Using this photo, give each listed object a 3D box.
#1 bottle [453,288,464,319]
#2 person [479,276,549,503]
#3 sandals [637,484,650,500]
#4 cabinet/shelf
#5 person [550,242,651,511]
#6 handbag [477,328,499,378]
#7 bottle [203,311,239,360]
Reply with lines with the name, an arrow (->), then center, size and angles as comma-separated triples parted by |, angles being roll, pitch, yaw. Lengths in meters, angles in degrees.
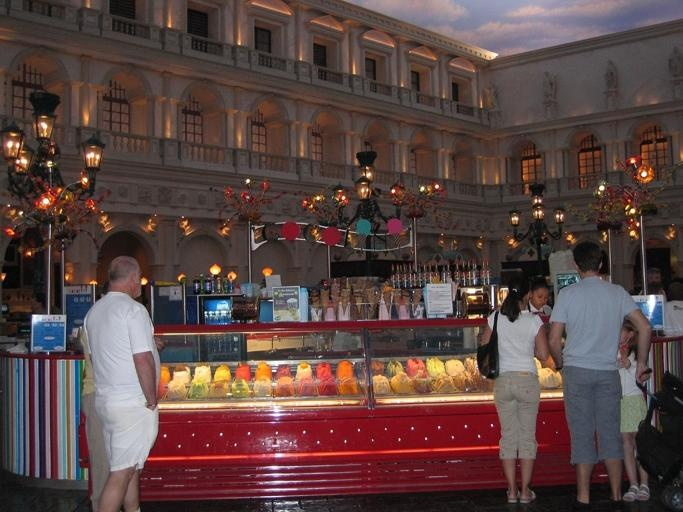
bottle -> 1.274, 0.505, 8.525 | 0.123, 0.306, 0.245 | -3, -4, 6
person -> 1.557, 1.221, 7.034 | 0.610, 2.051, 0.382 | -4, -4, 14
sandals -> 2.715, 2.143, 7.092 | 0.101, 0.091, 0.249 | -4, -8, 20
cabinet/shelf -> 0.245, 1.428, 7.948 | 4.209, 1.410, 1.331 | -1, 9, -2
person -> 2.241, 1.027, 6.809 | 0.815, 2.290, 0.330 | -4, -4, 14
handbag -> 1.298, 0.879, 6.966 | 0.188, 0.414, 0.093 | -4, -4, 10
bottle -> -1.197, 0.813, 7.837 | 0.378, 0.563, 0.267 | -1, 7, 0
